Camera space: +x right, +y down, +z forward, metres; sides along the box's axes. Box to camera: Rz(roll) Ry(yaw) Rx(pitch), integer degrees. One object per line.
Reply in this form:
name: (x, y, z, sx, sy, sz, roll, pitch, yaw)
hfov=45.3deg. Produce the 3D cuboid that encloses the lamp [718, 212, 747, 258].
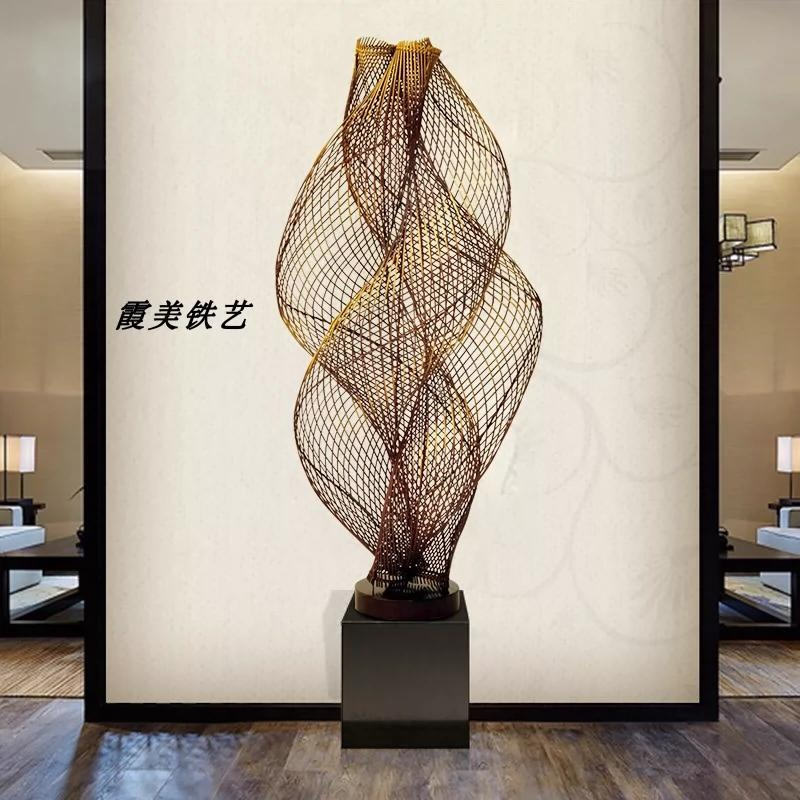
lamp: (1.369, -0.680, 3.941, 0.184, 0.167, 0.096, -1, 1, -25)

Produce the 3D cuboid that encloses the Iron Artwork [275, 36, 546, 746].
Iron Artwork: (0.048, -0.021, 3.030, 0.684, 2.284, 0.719, -6, -11, 30)
